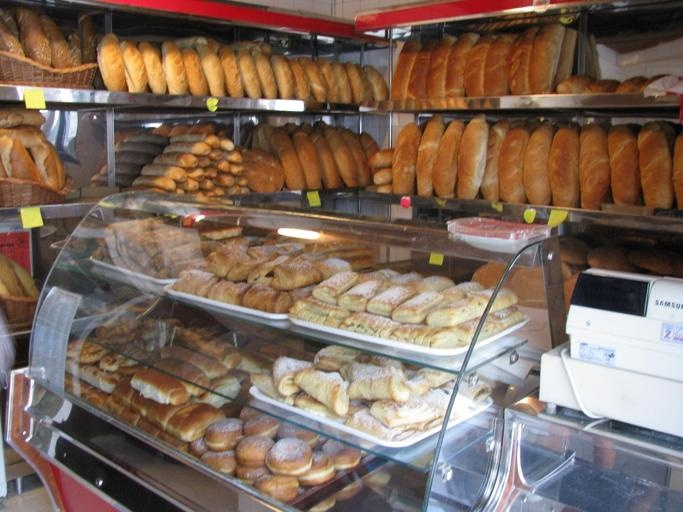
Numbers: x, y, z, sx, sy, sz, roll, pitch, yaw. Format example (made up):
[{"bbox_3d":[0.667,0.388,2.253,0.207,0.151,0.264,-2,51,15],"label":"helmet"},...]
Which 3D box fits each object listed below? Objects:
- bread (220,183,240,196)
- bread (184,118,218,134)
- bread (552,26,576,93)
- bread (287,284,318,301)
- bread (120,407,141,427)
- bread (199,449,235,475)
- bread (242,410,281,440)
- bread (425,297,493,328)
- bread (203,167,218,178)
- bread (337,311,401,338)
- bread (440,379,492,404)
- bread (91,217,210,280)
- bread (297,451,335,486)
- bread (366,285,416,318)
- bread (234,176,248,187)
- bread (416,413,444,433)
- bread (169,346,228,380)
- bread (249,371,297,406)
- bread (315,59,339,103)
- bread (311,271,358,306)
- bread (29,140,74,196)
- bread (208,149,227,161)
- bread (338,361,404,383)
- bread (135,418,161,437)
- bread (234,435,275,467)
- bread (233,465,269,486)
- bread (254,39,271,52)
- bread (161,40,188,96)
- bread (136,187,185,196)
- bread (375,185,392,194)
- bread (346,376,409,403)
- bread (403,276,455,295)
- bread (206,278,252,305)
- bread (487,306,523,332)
[{"bbox_3d":[-0.667,-0.397,3.282,0.079,0.024,0.077,-10,27,-23],"label":"bread"},{"bbox_3d":[-0.949,-0.877,3.706,0.101,0.102,0.334,-18,5,7],"label":"bread"},{"bbox_3d":[1.215,-1.075,2.938,0.081,0.302,0.235,4,-2,-4],"label":"bread"},{"bbox_3d":[-0.111,0.102,1.499,0.053,0.014,0.051,-16,40,16],"label":"bread"},{"bbox_3d":[-0.697,0.534,1.786,0.082,0.039,0.024,31,23,36],"label":"bread"},{"bbox_3d":[-0.355,0.590,1.554,0.071,0.023,0.072,21,-1,8],"label":"bread"},{"bbox_3d":[-0.226,0.481,1.545,0.088,0.041,0.089,20,13,42],"label":"bread"},{"bbox_3d":[0.273,0.116,1.272,0.121,0.034,0.069,-18,15,-6],"label":"bread"},{"bbox_3d":[-0.782,-0.499,3.199,0.067,0.037,0.063,4,29,-15],"label":"bread"},{"bbox_3d":[0.065,0.165,1.371,0.095,0.027,0.067,9,14,31],"label":"bread"},{"bbox_3d":[0.297,0.301,1.237,0.084,0.024,0.070,1,2,30],"label":"bread"},{"bbox_3d":[-0.660,-0.033,1.879,0.293,0.084,0.291,18,25,18],"label":"bread"},{"bbox_3d":[-0.067,0.549,1.434,0.082,0.046,0.079,-20,28,-35],"label":"bread"},{"bbox_3d":[0.120,0.112,1.385,0.113,0.032,0.069,-30,29,-36],"label":"bread"},{"bbox_3d":[-0.613,-0.457,3.316,0.058,0.057,0.031,36,-19,-19],"label":"bread"},{"bbox_3d":[0.204,0.387,1.242,0.061,0.033,0.014,-21,-32,36],"label":"bread"},{"bbox_3d":[-0.435,0.329,1.668,0.217,0.048,0.072,15,14,35],"label":"bread"},{"bbox_3d":[-0.186,0.359,1.498,0.115,0.030,0.067,32,28,28],"label":"bread"},{"bbox_3d":[-0.085,-1.224,3.775,0.098,0.250,0.273,-9,11,7],"label":"bread"},{"bbox_3d":[-0.019,0.083,1.465,0.073,0.037,0.116,19,48,42],"label":"bread"},{"bbox_3d":[-1.470,-0.449,2.757,0.083,0.233,0.243,-12,-1,22],"label":"bread"},{"bbox_3d":[-0.738,-0.599,3.186,0.084,0.076,0.029,2,-1,-16],"label":"bread"},{"bbox_3d":[0.063,0.289,1.344,0.140,0.030,0.053,-6,46,36],"label":"bread"},{"bbox_3d":[-0.620,0.551,1.736,0.084,0.042,0.022,27,-1,35],"label":"bread"},{"bbox_3d":[-0.238,0.529,1.511,0.085,0.049,0.089,12,8,43],"label":"bread"},{"bbox_3d":[-0.244,0.593,1.499,0.064,0.030,0.063,12,4,-40],"label":"bread"},{"bbox_3d":[-0.527,-1.398,3.597,0.076,0.070,0.132,-10,38,-17],"label":"bread"},{"bbox_3d":[-0.948,-1.063,3.128,0.106,0.313,0.146,-5,3,-40],"label":"bread"},{"bbox_3d":[-0.852,-0.301,2.512,0.134,0.029,0.121,-1,12,-40],"label":"bread"},{"bbox_3d":[0.274,-0.437,3.531,0.070,0.033,0.070,12,42,42],"label":"bread"},{"bbox_3d":[0.086,0.325,1.309,0.124,0.036,0.062,4,3,32],"label":"bread"},{"bbox_3d":[0.229,0.073,1.393,0.075,0.023,0.054,-9,12,-31],"label":"bread"},{"bbox_3d":[-0.344,0.110,1.627,0.092,0.042,0.086,8,21,14],"label":"bread"},{"bbox_3d":[0.384,0.147,1.281,0.102,0.044,0.029,-4,51,9],"label":"bread"}]
